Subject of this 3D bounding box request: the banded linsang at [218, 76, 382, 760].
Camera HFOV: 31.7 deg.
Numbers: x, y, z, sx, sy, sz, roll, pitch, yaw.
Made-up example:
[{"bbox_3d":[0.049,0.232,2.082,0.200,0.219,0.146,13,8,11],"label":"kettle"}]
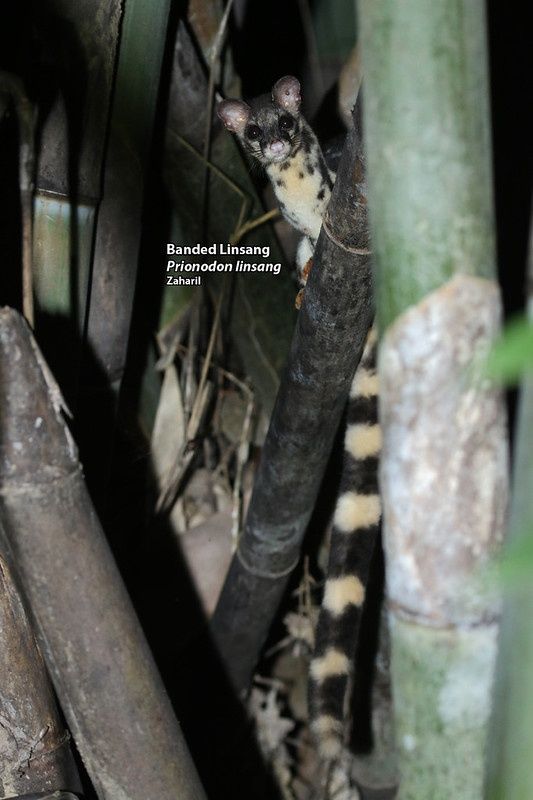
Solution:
[{"bbox_3d":[0.062,0.063,1.950,0.250,1.679,0.597,1,-8,-3],"label":"banded linsang"}]
